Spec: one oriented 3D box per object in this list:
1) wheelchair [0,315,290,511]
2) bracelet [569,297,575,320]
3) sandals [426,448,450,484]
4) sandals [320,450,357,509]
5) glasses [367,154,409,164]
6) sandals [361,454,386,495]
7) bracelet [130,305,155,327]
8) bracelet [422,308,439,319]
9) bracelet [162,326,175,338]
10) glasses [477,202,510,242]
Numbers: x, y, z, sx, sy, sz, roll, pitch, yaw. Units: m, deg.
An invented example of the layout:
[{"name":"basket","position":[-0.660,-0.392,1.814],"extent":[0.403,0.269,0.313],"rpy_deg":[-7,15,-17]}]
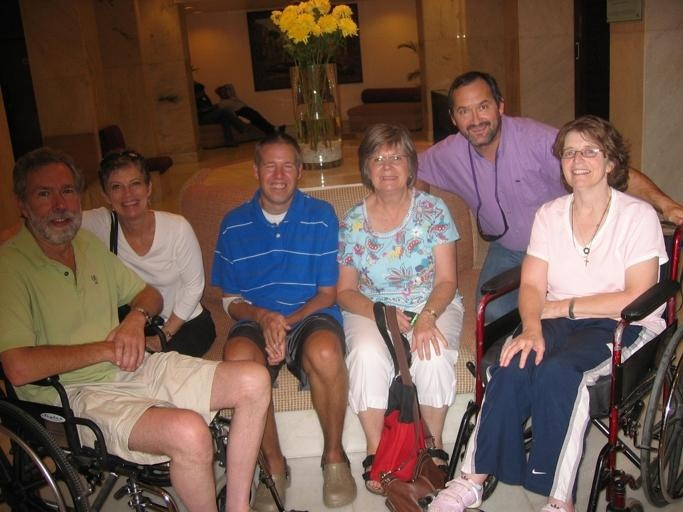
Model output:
[{"name":"wheelchair","position":[-0.790,0.674,2.457],"extent":[0.868,0.761,0.504],"rpy_deg":[1,12,19]},{"name":"bracelet","position":[1.011,0.230,2.585],"extent":[0.019,0.066,0.046],"rpy_deg":[-2,-2,16]},{"name":"sandals","position":[0.428,0.925,2.596],"extent":[0.134,0.138,0.086],"rpy_deg":[10,-14,-22]},{"name":"sandals","position":[-0.012,1.033,2.789],"extent":[0.126,0.109,0.267],"rpy_deg":[-2,28,-1]},{"name":"glasses","position":[0.231,-0.479,2.881],"extent":[0.158,0.045,0.033],"rpy_deg":[-2,11,1]},{"name":"sandals","position":[0.147,0.992,2.700],"extent":[0.077,0.062,0.201],"rpy_deg":[-3,4,-2]},{"name":"bracelet","position":[-0.931,0.270,2.720],"extent":[0.087,0.091,0.082],"rpy_deg":[-5,2,-18]},{"name":"bracelet","position":[0.420,0.267,2.777],"extent":[0.048,0.037,0.049],"rpy_deg":[11,13,-4]},{"name":"bracelet","position":[-0.862,0.376,2.935],"extent":[0.043,0.050,0.050],"rpy_deg":[4,48,48]},{"name":"glasses","position":[0.855,-0.202,3.345],"extent":[0.143,0.214,0.050],"rpy_deg":[-9,7,40]}]
